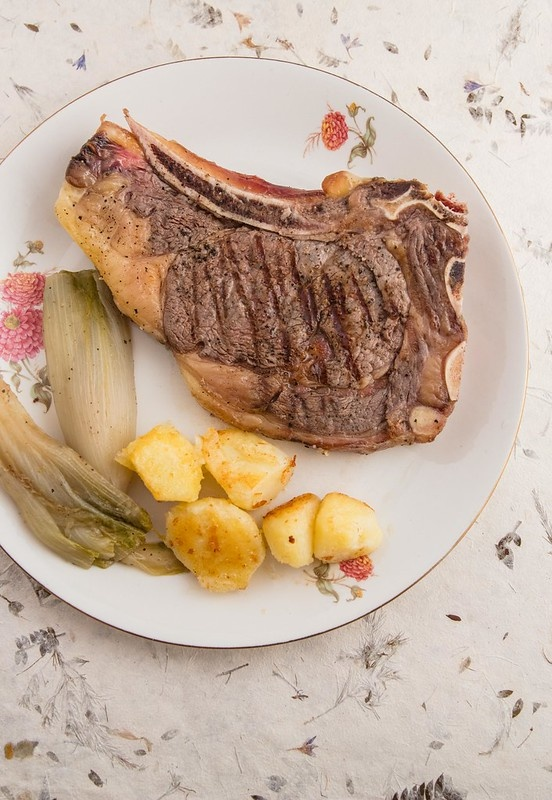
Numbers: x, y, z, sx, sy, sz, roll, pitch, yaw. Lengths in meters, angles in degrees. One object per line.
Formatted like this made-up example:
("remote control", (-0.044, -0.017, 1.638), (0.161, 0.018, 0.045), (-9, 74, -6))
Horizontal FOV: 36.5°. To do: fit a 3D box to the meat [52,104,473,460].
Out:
("meat", (-0.098, -0.396, 2.976), (1.515, 0.285, 0.889), (16, 93, 7))
